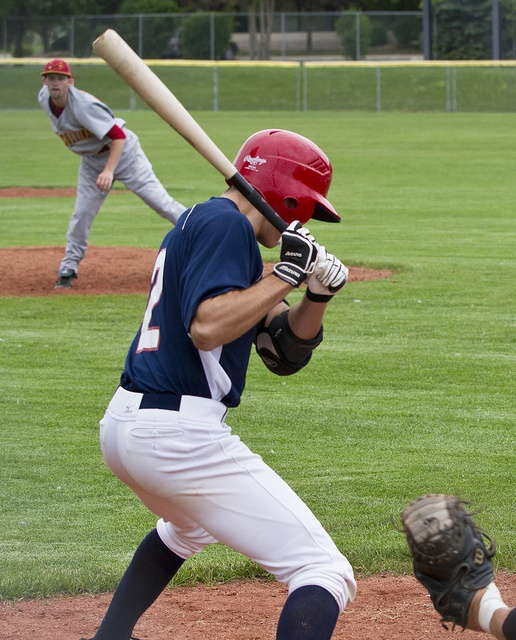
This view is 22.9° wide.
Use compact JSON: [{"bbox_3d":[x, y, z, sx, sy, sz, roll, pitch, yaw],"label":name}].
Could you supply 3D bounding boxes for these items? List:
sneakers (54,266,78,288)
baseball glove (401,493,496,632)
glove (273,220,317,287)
[{"bbox_3d":[-1.471,-0.336,9.850,0.119,0.164,0.066,5,5,9],"label":"sneakers"},{"bbox_3d":[0.576,0.828,4.522,0.392,0.299,0.668,4,-28,0],"label":"baseball glove"},{"bbox_3d":[0.141,-0.224,4.509,0.081,0.205,0.160,39,-10,-19],"label":"glove"}]
